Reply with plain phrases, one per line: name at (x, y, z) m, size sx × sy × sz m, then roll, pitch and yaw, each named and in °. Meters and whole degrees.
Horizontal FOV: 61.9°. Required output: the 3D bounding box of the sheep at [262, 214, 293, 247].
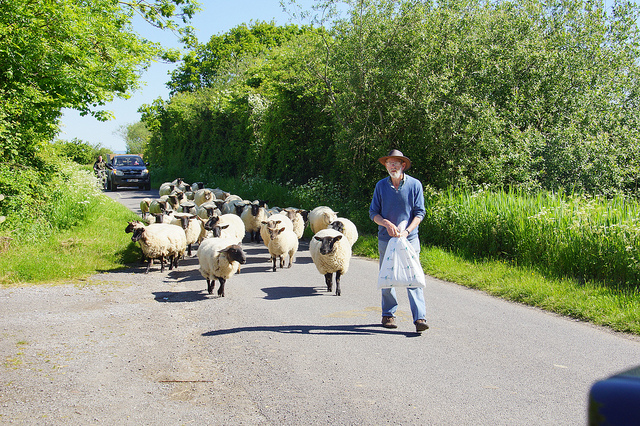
sheep at (-1.350, 0.398, 16.246) m, size 0.591 × 0.847 × 1.284 m, roll -3°, pitch -3°, yaw 10°

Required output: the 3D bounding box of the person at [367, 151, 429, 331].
person at (1.664, 0.549, 11.215) m, size 1.225 × 3.684 × 0.993 m, roll 3°, pitch 3°, yaw 9°

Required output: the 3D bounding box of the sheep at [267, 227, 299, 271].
sheep at (-1.135, 0.999, 15.458) m, size 0.643 × 1.274 × 1.029 m, roll 3°, pitch 3°, yaw 19°

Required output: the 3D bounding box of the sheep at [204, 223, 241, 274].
sheep at (-3.041, 0.791, 16.321) m, size 0.857 × 1.348 × 2.609 m, roll -3°, pitch -8°, yaw -3°

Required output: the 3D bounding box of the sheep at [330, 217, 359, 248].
sheep at (0.667, 0.431, 15.727) m, size 0.478 × 0.652 × 1.011 m, roll -7°, pitch -12°, yaw 21°

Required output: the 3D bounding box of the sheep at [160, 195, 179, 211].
sheep at (-6.285, -0.429, 22.843) m, size 0.646 × 0.856 × 1.575 m, roll -2°, pitch 5°, yaw -38°

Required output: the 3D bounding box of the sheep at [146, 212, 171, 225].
sheep at (-5.429, 0.173, 17.895) m, size 0.545 × 0.655 × 1.255 m, roll 1°, pitch -1°, yaw -26°

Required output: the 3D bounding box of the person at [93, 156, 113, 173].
person at (-15.185, -3.434, 37.174) m, size 0.875 × 0.979 × 1.582 m, roll -5°, pitch 1°, yaw -38°

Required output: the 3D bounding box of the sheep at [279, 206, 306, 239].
sheep at (-0.948, 0.240, 18.717) m, size 0.395 × 0.590 × 0.957 m, roll -10°, pitch 8°, yaw 13°

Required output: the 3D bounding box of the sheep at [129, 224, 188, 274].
sheep at (-4.705, 0.961, 15.627) m, size 0.900 × 1.440 × 2.239 m, roll 7°, pitch 9°, yaw 21°

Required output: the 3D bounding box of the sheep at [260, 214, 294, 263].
sheep at (-1.433, 0.466, 16.380) m, size 0.738 × 1.160 × 1.700 m, roll -4°, pitch -2°, yaw 7°

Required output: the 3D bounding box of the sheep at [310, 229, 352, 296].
sheep at (0.291, 1.218, 13.472) m, size 0.894 × 1.517 × 1.209 m, roll 2°, pitch 3°, yaw -6°

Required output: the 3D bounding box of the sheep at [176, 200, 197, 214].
sheep at (-5.055, -0.211, 20.137) m, size 0.483 × 0.621 × 1.154 m, roll -15°, pitch 2°, yaw -12°

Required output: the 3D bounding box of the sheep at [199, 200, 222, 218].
sheep at (-4.166, -0.142, 20.263) m, size 0.727 × 0.849 × 1.479 m, roll -5°, pitch -1°, yaw -19°

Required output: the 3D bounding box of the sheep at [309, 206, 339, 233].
sheep at (-0.021, 0.332, 18.332) m, size 0.620 × 0.856 × 1.330 m, roll 1°, pitch 2°, yaw -36°

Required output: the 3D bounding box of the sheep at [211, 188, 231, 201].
sheep at (-4.519, -0.788, 25.124) m, size 0.561 × 0.652 × 1.162 m, roll -1°, pitch 16°, yaw -38°

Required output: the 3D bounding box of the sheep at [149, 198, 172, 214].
sheep at (-6.210, -0.276, 20.858) m, size 0.545 × 0.797 × 1.093 m, roll -1°, pitch 0°, yaw -25°

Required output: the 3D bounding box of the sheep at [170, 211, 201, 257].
sheep at (-4.336, 0.403, 17.222) m, size 0.670 × 0.942 × 1.466 m, roll 3°, pitch 11°, yaw -14°

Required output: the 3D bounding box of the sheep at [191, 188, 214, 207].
sheep at (-5.334, -0.701, 24.316) m, size 0.635 × 0.735 × 1.267 m, roll 3°, pitch -4°, yaw -17°

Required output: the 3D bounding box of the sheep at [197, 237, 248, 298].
sheep at (-2.551, 1.373, 13.504) m, size 0.883 × 1.379 × 1.906 m, roll -1°, pitch 4°, yaw -37°

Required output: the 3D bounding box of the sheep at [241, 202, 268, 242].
sheep at (-2.413, 0.423, 19.850) m, size 0.935 × 1.414 × 2.015 m, roll -4°, pitch -14°, yaw -7°
